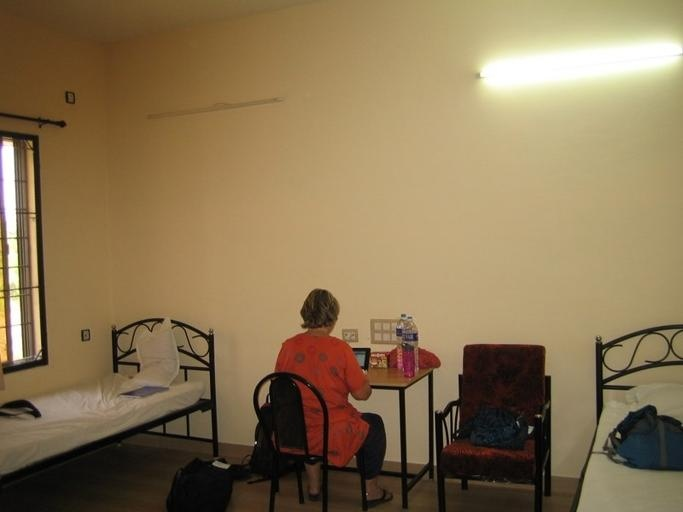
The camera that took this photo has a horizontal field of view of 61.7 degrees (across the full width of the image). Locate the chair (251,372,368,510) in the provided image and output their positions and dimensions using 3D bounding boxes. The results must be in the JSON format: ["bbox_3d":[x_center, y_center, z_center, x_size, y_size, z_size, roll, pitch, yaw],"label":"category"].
[{"bbox_3d":[-0.266,1.292,4.612,0.863,1.179,1.478,-3,7,-8],"label":"chair"}]

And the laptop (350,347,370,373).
[{"bbox_3d":[0.159,0.846,4.698,0.190,0.206,0.164,4,-13,-2],"label":"laptop"}]

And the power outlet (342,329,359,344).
[{"bbox_3d":[0.080,0.690,4.933,0.116,0.114,0.043,0,-2,15],"label":"power outlet"}]

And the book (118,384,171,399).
[{"bbox_3d":[-1.699,1.167,4.972,0.295,0.025,0.356,3,9,40],"label":"book"}]

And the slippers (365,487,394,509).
[{"bbox_3d":[0.294,1.844,4.373,0.236,0.080,0.089,-1,0,-44],"label":"slippers"}]

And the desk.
[{"bbox_3d":[0.317,1.429,4.611,0.937,1.072,0.791,-2,-5,22],"label":"desk"}]

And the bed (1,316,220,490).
[{"bbox_3d":[-1.938,1.193,4.796,0.902,1.207,1.719,1,3,23],"label":"bed"}]

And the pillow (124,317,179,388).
[{"bbox_3d":[-1.736,0.881,5.200,0.381,0.585,0.145,-11,-16,33],"label":"pillow"}]
